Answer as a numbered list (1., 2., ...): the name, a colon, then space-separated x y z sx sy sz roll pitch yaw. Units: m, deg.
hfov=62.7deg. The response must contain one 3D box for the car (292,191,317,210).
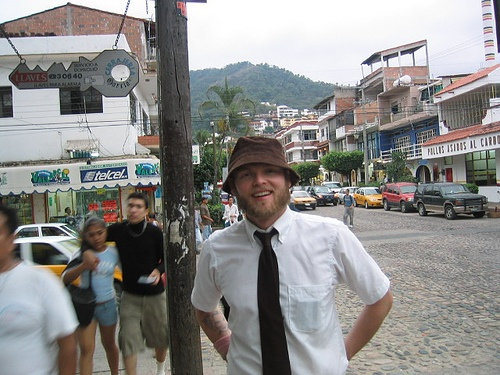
1. car: 3.649 0.877 27.698 1.421 1.081 2.645 -2 -2 -13

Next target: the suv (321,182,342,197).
1. suv: 7.509 0.002 36.264 1.046 0.995 1.930 -1 -5 -6

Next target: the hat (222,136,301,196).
1. hat: 0.076 -0.155 2.870 0.464 0.255 0.369 8 -9 -35

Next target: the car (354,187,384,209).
1. car: 8.301 0.675 28.514 1.239 0.944 2.594 -1 -3 -10

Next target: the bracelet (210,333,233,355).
1. bracelet: -0.203 1.151 3.018 0.126 0.059 0.153 -11 -42 -40

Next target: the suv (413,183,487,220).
1. suv: 9.716 0.618 20.102 1.536 1.702 3.293 -2 1 -13

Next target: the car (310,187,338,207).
1. car: 5.662 0.593 32.032 1.272 0.997 2.113 -1 -4 -15

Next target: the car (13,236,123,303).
1. car: -3.676 1.738 8.522 2.656 1.357 1.421 -2 2 0

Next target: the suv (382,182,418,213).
1. suv: 9.170 0.508 24.669 1.217 1.107 2.238 -1 -2 -16
